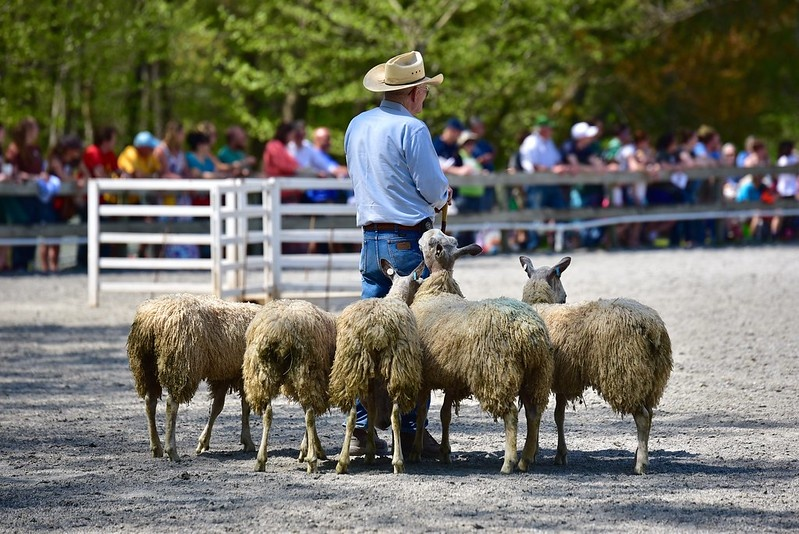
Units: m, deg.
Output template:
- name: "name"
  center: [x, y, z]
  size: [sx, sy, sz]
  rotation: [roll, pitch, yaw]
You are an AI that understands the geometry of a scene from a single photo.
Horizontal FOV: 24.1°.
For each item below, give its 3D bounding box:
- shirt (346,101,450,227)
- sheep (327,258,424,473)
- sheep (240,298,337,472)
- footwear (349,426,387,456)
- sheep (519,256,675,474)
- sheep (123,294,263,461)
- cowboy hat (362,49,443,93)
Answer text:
- name: "shirt"
  center: [-0.127, -1.373, 25.579]
  size: [1.526, 1.754, 1.135]
  rotation: [-4, -3, 43]
- name: "sheep"
  center: [-0.325, 1.372, 24.817]
  size: [1.221, 2.762, 0.675]
  rotation: [-1, 2, 0]
- name: "sheep"
  center: [-1.364, 1.538, 26.097]
  size: [1.176, 2.564, 3.221]
  rotation: [2, 7, 8]
- name: "footwear"
  center: [-0.407, 2.419, 25.456]
  size: [0.207, 0.538, 0.812]
  rotation: [1, -2, 10]
- name: "sheep"
  center: [2.389, 1.351, 25.603]
  size: [1.257, 3.115, 2.709]
  rotation: [2, -2, -41]
- name: "sheep"
  center: [-2.443, 1.493, 26.007]
  size: [1.253, 2.450, 2.930]
  rotation: [3, 4, 38]
- name: "cowboy hat"
  center: [-0.060, -2.626, 25.205]
  size: [0.675, 0.318, 0.671]
  rotation: [-17, 35, -13]
